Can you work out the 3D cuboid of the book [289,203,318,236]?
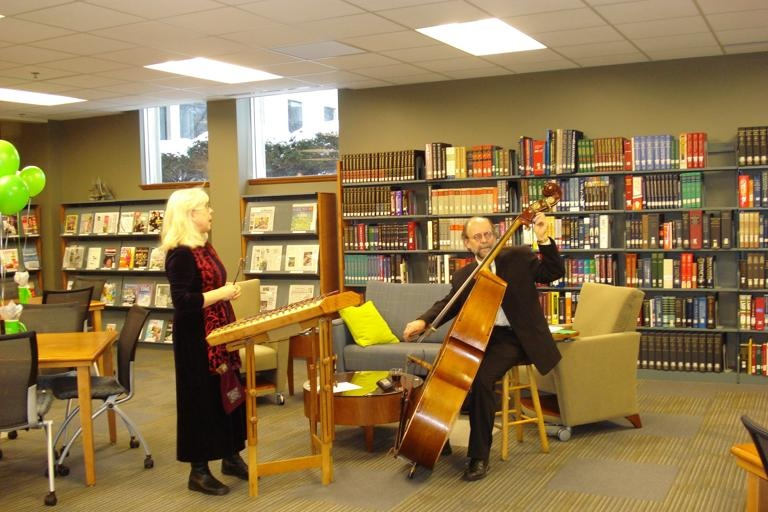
[{"bbox_3d":[-1.145,-0.540,8.641,0.427,0.412,0.183,0,7,23],"label":"book"}]

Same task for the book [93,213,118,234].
[{"bbox_3d":[-4.584,-0.525,10.027,0.379,0.297,0.053,0,-5,24],"label":"book"}]

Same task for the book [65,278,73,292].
[{"bbox_3d":[-4.970,0.456,9.560,0.120,0.156,0.055,3,-13,16],"label":"book"}]

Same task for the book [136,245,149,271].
[{"bbox_3d":[-3.918,0.041,9.773,0.291,0.337,0.143,0,7,17],"label":"book"}]

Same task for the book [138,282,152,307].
[{"bbox_3d":[-3.832,0.615,9.728,0.324,0.349,0.190,1,7,30],"label":"book"}]

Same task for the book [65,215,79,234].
[{"bbox_3d":[-5.279,-0.520,10.274,0.322,0.360,0.053,-4,-10,26],"label":"book"}]

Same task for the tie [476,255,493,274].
[{"bbox_3d":[0.817,0.079,4.758,0.048,0.149,0.110,-15,23,-32],"label":"tie"}]

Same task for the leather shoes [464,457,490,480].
[{"bbox_3d":[0.716,1.656,4.709,0.103,0.098,0.246,-4,-8,27],"label":"leather shoes"}]

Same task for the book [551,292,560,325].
[{"bbox_3d":[2.100,0.634,7.404,0.136,0.346,0.394,0,1,6],"label":"book"}]

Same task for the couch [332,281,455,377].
[{"bbox_3d":[0.099,0.706,6.476,1.336,0.907,0.897,-1,-6,4],"label":"couch"}]

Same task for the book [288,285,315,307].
[{"bbox_3d":[-1.192,0.537,8.654,0.422,0.245,0.232,-1,6,8],"label":"book"}]

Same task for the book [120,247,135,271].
[{"bbox_3d":[-4.218,0.036,9.912,0.345,0.354,0.174,3,8,38],"label":"book"}]

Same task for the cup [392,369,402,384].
[{"bbox_3d":[0.104,1.014,5.103,0.112,0.114,0.110,1,-5,0],"label":"cup"}]

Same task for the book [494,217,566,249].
[{"bbox_3d":[1.779,-0.316,7.326,0.586,0.547,0.141,2,-11,33],"label":"book"}]

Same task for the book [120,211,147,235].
[{"bbox_3d":[-4.049,-0.514,9.832,0.407,0.277,0.054,-3,-13,31],"label":"book"}]

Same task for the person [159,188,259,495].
[{"bbox_3d":[-1.339,0.660,4.568,0.542,2.320,0.467,-5,7,-19],"label":"person"}]
